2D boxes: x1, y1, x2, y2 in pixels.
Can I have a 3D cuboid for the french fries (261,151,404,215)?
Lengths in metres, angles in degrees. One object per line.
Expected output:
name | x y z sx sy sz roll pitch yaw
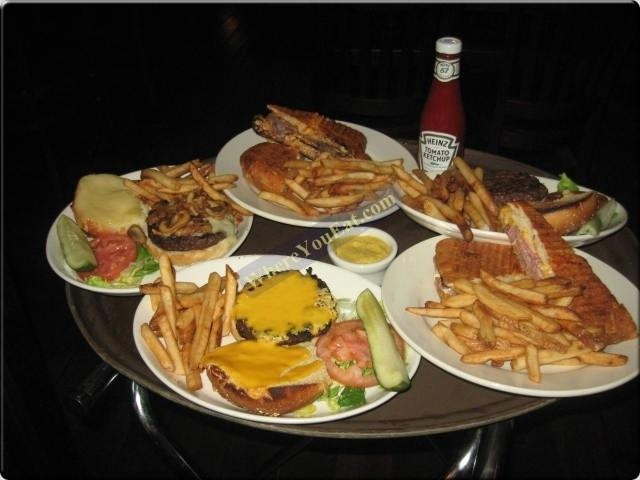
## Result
french fries | 0.121 -0.419 3.505 0.752 0.205 0.522 -12 43 4

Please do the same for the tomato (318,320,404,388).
tomato | 0.190 0.619 2.628 0.377 0.110 0.369 -29 38 6

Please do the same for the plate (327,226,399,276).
plate | 0.311 0.091 3.170 0.386 0.125 0.377 -22 42 -16

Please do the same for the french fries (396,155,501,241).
french fries | 0.852 -0.177 3.154 0.684 0.432 0.207 -5 8 -44

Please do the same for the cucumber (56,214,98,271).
cucumber | -1.601 0.024 3.128 0.179 0.208 0.482 -26 46 -24

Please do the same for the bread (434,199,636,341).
bread | 1.334 0.135 2.693 0.797 0.199 0.784 4 57 10

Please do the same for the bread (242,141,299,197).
bread | -0.391 -0.554 3.648 0.419 0.133 0.436 -23 63 -24
